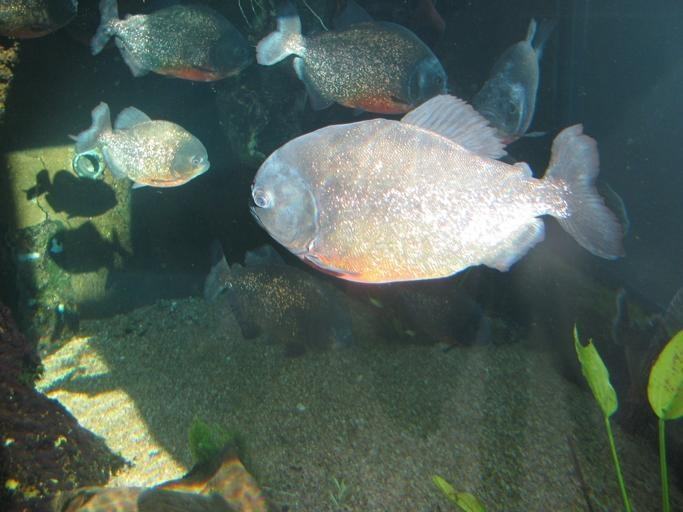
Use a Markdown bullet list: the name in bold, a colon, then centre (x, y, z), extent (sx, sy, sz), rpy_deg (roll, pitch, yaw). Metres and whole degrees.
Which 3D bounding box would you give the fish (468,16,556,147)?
- **fish**: centre (0.623, -0.568, 2.504), extent (0.258, 0.224, 0.453), rpy_deg (15, 80, 20)
